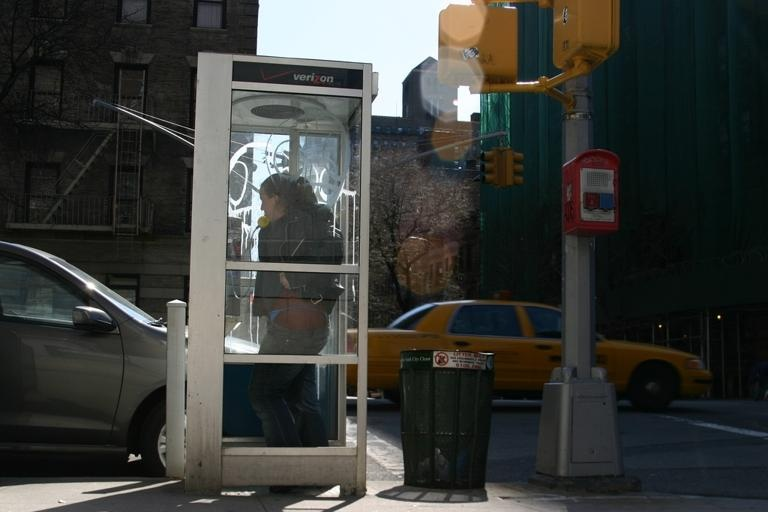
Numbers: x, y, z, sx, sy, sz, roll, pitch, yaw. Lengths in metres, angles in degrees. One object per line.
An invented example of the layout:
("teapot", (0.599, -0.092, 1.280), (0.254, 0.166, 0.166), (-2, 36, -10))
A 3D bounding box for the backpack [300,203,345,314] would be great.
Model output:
("backpack", (-0.752, 0.019, 13.976), (0.373, 1.118, 0.800), (9, -8, -11))

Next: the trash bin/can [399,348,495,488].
("trash bin/can", (0.921, 2.294, 15.048), (1.554, 2.312, 1.779), (-2, -9, 20))

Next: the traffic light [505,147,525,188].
("traffic light", (2.534, -1.721, 20.484), (0.304, 0.705, 0.791), (0, -4, 14))

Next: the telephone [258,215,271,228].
("telephone", (-1.583, -0.455, 13.882), (0.152, 0.149, 0.035), (-28, 11, -38))

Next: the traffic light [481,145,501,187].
("traffic light", (2.050, -1.725, 20.259), (0.345, 0.678, 0.462), (1, -3, 5))

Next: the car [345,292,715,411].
("car", (2.828, 1.494, 20.250), (6.564, 2.062, 2.668), (0, -8, -9))
